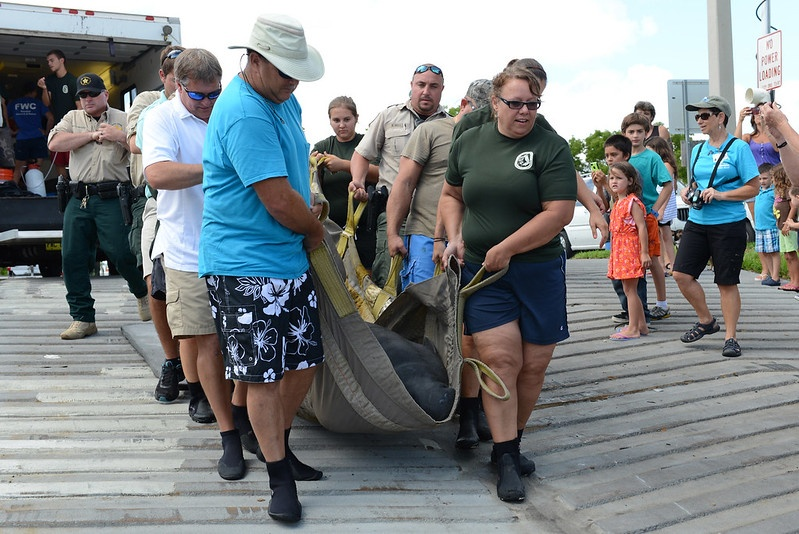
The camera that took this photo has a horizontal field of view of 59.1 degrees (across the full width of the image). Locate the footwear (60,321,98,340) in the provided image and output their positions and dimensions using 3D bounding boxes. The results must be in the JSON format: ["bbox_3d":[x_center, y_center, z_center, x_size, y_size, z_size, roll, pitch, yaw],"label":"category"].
[{"bbox_3d":[-2.782,0.562,6.221,0.119,0.141,0.355,-1,-4,31],"label":"footwear"}]

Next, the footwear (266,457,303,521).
[{"bbox_3d":[-0.579,1.117,3.553,0.168,0.267,0.203,-2,12,-10],"label":"footwear"}]

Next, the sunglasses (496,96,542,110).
[{"bbox_3d":[0.640,-0.866,3.779,0.224,0.070,0.063,2,12,8],"label":"sunglasses"}]

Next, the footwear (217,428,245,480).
[{"bbox_3d":[-0.925,1.020,3.885,0.153,0.215,0.239,-2,12,-12],"label":"footwear"}]

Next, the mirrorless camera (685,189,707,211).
[{"bbox_3d":[2.538,-0.568,6.039,0.136,0.176,0.076,3,1,-13],"label":"mirrorless camera"}]

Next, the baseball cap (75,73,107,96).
[{"bbox_3d":[-2.617,-1.523,5.984,0.215,0.158,0.299,-1,7,-4],"label":"baseball cap"}]

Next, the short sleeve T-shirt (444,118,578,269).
[{"bbox_3d":[0.595,-0.385,3.887,0.861,0.781,0.484,2,10,26],"label":"short sleeve T-shirt"}]

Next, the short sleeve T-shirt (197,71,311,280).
[{"bbox_3d":[-0.721,-0.422,3.558,0.607,1.027,0.989,1,7,0],"label":"short sleeve T-shirt"}]

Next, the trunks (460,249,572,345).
[{"bbox_3d":[0.596,0.175,4.079,0.806,0.650,0.448,-2,-4,-3],"label":"trunks"}]

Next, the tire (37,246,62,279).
[{"bbox_3d":[-5.309,-0.081,10.741,0.350,0.439,0.125,3,8,-28],"label":"tire"}]

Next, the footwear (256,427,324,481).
[{"bbox_3d":[-0.629,1.035,3.928,0.498,0.327,0.170,0,10,-7],"label":"footwear"}]
